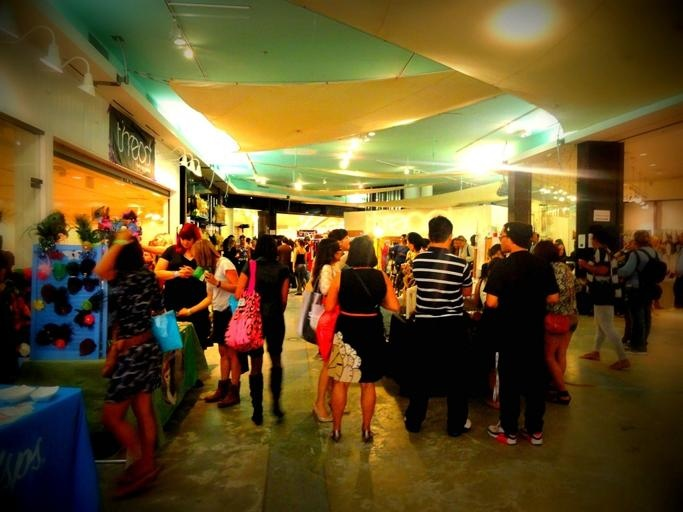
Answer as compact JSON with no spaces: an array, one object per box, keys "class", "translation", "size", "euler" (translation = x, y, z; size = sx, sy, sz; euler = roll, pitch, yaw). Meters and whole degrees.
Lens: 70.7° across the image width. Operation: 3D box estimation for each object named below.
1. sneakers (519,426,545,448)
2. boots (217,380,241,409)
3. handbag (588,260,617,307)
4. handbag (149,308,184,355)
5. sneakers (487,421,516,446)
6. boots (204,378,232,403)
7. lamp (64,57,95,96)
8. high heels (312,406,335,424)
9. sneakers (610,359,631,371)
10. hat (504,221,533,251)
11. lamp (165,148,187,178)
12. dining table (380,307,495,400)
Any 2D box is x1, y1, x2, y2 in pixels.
[{"class":"sneakers","translation":[1.881,1.775,4.749],"size":[0.104,0.130,0.272],"euler":[1,3,-3]},{"class":"boots","translation":[-1.199,1.556,5.420],"size":[0.362,0.264,0.150],"euler":[6,-9,-44]},{"class":"handbag","translation":[3.574,0.359,6.559],"size":[0.227,0.552,0.376],"euler":[23,-37,-16]},{"class":"handbag","translation":[-1.513,0.661,4.151],"size":[0.220,0.336,0.182],"euler":[-5,13,-24]},{"class":"sneakers","translation":[1.573,1.754,4.783],"size":[0.113,0.169,0.292],"euler":[0,5,-26]},{"class":"boots","translation":[-1.365,1.523,5.407],"size":[0.400,0.299,0.157],"euler":[2,-4,-11]},{"class":"lamp","translation":[-3.298,-2.274,6.049],"size":[0.319,0.495,1.264],"euler":[-6,15,-27]},{"class":"high heels","translation":[-0.186,1.668,5.030],"size":[0.205,0.144,0.373],"euler":[3,-9,-18]},{"class":"sneakers","translation":[3.773,1.464,6.509],"size":[0.348,0.158,0.112],"euler":[1,-1,23]},{"class":"hat","translation":[1.779,-0.230,4.887],"size":[0.223,0.262,0.290],"euler":[7,27,-14]},{"class":"lamp","translation":[-3.698,-2.106,10.638],"size":[0.158,0.673,0.704],"euler":[7,11,9]},{"class":"dining table","translation":[1.040,1.096,5.299],"size":[1.057,0.705,1.099],"euler":[0,-5,1]}]
